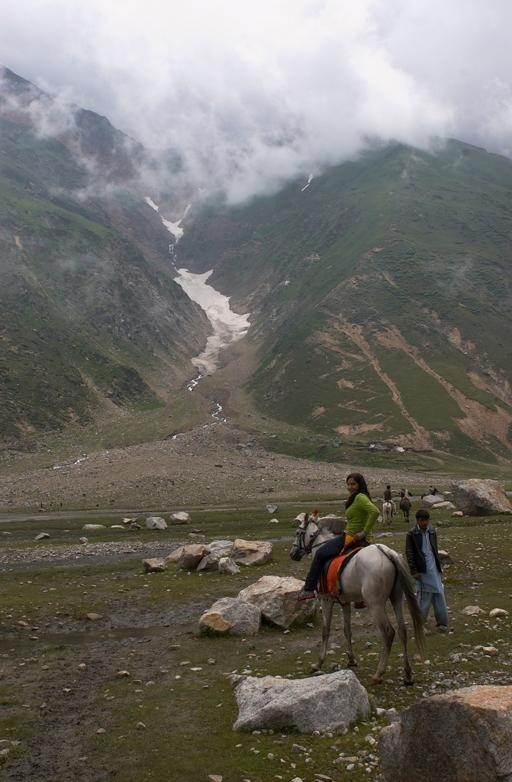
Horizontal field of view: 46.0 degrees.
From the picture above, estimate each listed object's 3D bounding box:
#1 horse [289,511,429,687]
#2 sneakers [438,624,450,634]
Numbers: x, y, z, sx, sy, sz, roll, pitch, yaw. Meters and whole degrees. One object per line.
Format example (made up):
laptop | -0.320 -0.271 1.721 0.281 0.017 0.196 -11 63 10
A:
horse | 2.113 4.446 13.315 1.220 3.278 4.231 10 -14 -29
sneakers | 4.555 5.829 14.609 0.112 0.129 0.313 4 7 0
